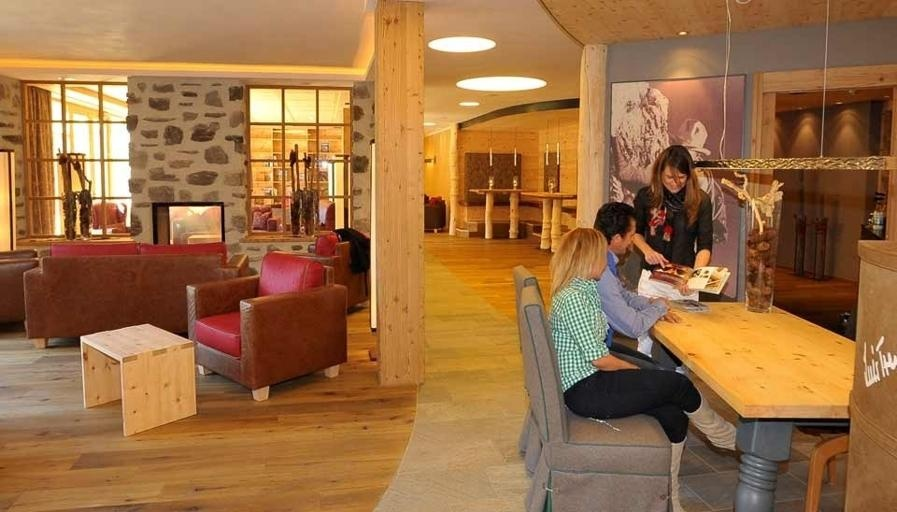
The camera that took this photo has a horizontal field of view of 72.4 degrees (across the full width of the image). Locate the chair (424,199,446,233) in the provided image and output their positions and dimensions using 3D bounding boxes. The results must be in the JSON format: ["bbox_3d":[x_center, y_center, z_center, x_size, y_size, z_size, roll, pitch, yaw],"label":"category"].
[{"bbox_3d":[-0.351,-1.243,18.661,0.700,1.027,0.420,-4,7,-9],"label":"chair"}]

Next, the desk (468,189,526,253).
[{"bbox_3d":[1.483,-1.136,16.989,1.711,1.345,1.546,-1,7,-6],"label":"desk"}]

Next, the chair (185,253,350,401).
[{"bbox_3d":[-1.956,0.660,6.592,1.274,1.116,1.361,-15,18,-40],"label":"chair"}]

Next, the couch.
[{"bbox_3d":[-3.666,0.521,7.729,2.711,1.081,1.191,-3,1,4],"label":"couch"}]

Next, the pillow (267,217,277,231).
[{"bbox_3d":[-3.000,-0.532,10.419,0.276,0.220,0.137,0,0,21],"label":"pillow"}]

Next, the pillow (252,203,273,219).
[{"bbox_3d":[-3.186,-0.780,10.472,0.270,0.226,0.112,1,29,4],"label":"pillow"}]

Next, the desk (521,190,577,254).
[{"bbox_3d":[2.480,-0.782,14.480,1.750,1.264,1.628,0,5,-2],"label":"desk"}]

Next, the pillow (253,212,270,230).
[{"bbox_3d":[-3.223,-0.614,10.520,0.282,0.239,0.140,12,20,12],"label":"pillow"}]

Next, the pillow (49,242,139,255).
[{"bbox_3d":[-4.287,-0.070,7.526,0.615,0.134,0.534,0,3,-14],"label":"pillow"}]

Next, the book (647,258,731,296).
[{"bbox_3d":[2.021,0.196,5.139,0.576,0.170,0.278,1,38,16],"label":"book"}]

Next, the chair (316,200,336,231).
[{"bbox_3d":[-2.022,-0.687,10.529,0.437,0.639,0.726,-2,3,-14],"label":"chair"}]

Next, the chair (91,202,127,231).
[{"bbox_3d":[-5.595,-0.658,10.013,0.560,0.428,0.276,1,9,-14],"label":"chair"}]

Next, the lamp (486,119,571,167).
[{"bbox_3d":[2.368,-2.802,16.375,1.410,1.418,2.972,-5,7,-19],"label":"lamp"}]

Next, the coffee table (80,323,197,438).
[{"bbox_3d":[-2.992,1.156,5.900,0.904,0.659,0.729,10,12,38],"label":"coffee table"}]

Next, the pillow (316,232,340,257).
[{"bbox_3d":[-1.617,-0.150,8.104,0.320,0.333,0.401,6,6,16],"label":"pillow"}]
